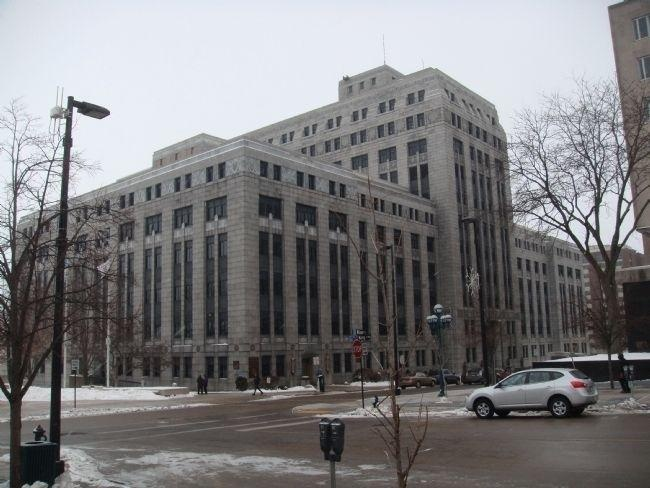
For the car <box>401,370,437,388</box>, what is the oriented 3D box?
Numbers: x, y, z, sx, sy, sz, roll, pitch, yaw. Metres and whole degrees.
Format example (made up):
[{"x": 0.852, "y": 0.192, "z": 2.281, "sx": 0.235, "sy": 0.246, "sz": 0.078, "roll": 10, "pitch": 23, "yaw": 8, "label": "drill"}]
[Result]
[{"x": 8.053, "y": 11.799, "z": 57.219, "sx": 3.314, "sy": 1.100, "sz": 1.518, "roll": 4, "pitch": -7, "yaw": -42, "label": "car"}]

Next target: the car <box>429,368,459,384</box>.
[{"x": 11.585, "y": 12.559, "z": 61.729, "sx": 3.245, "sy": 1.470, "sz": 1.688, "roll": -2, "pitch": -8, "yaw": -11, "label": "car"}]

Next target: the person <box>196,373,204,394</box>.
[{"x": -10.431, "y": 11.881, "z": 55.958, "sx": 0.548, "sy": 1.564, "sz": 1.626, "roll": 0, "pitch": -16, "yaw": -12, "label": "person"}]

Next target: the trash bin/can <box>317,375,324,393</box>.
[{"x": -0.282, "y": 11.298, "z": 53.669, "sx": 0.356, "sy": 1.425, "sz": 0.912, "roll": -1, "pitch": -15, "yaw": -8, "label": "trash bin/can"}]

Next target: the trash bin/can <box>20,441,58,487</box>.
[{"x": -7.242, "y": 5.650, "z": 16.996, "sx": 0.974, "sy": 1.334, "sz": 0.968, "roll": 11, "pitch": -21, "yaw": -37, "label": "trash bin/can"}]

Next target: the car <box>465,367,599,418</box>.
[{"x": 8.213, "y": 5.985, "z": 26.547, "sx": 4.375, "sy": 1.821, "sz": 2.210, "roll": -6, "pitch": -18, "yaw": 27, "label": "car"}]
